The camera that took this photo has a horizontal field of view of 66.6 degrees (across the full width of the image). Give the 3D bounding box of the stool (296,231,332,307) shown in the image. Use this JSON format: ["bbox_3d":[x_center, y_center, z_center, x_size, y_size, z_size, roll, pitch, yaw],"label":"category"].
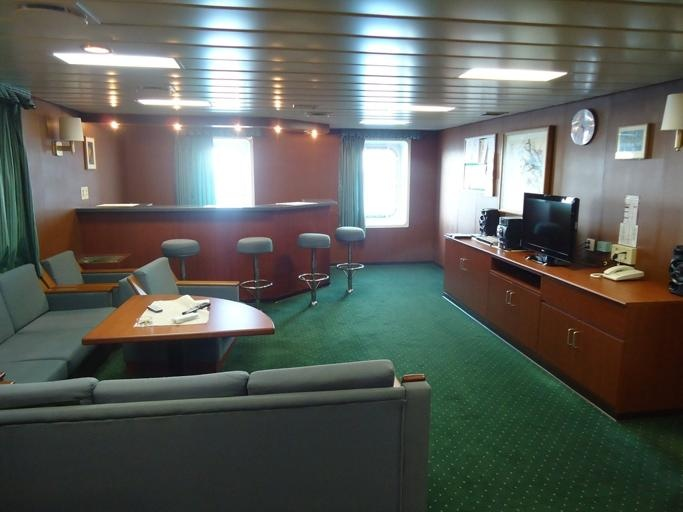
[{"bbox_3d":[-0.382,0.109,7.003,0.429,0.897,0.954,-3,12,-4],"label":"stool"}]

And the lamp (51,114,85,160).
[{"bbox_3d":[-3.091,-1.346,5.838,0.364,0.387,0.370,1,9,4],"label":"lamp"}]

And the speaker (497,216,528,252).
[{"bbox_3d":[1.901,-0.257,5.884,0.272,0.351,0.182,-5,11,-19],"label":"speaker"}]

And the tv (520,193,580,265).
[{"bbox_3d":[2.077,-0.276,5.212,0.186,0.636,0.836,-3,11,-15],"label":"tv"}]

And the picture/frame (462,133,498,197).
[{"bbox_3d":[1.915,-1.284,7.256,0.071,0.724,0.960,13,20,40],"label":"picture/frame"}]

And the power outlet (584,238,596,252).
[{"bbox_3d":[2.441,-0.109,5.100,0.064,0.121,0.125,-1,8,-13],"label":"power outlet"}]

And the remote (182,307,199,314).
[{"bbox_3d":[-1.208,0.441,4.130,0.098,0.019,0.159,-2,12,1],"label":"remote"}]

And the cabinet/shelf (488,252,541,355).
[{"bbox_3d":[1.894,0.433,5.329,0.376,0.869,0.936,-8,15,-15],"label":"cabinet/shelf"}]

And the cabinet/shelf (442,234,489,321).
[{"bbox_3d":[1.505,0.262,6.242,0.324,0.671,0.937,1,9,-4],"label":"cabinet/shelf"}]

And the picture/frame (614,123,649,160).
[{"bbox_3d":[2.583,-1.019,4.631,0.031,0.277,0.310,-4,10,-24],"label":"picture/frame"}]

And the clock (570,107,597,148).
[{"bbox_3d":[2.407,-1.297,5.206,0.343,0.349,0.027,-14,18,-25],"label":"clock"}]

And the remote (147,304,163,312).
[{"bbox_3d":[-1.505,0.424,4.186,0.055,0.024,0.099,-7,16,-44],"label":"remote"}]
